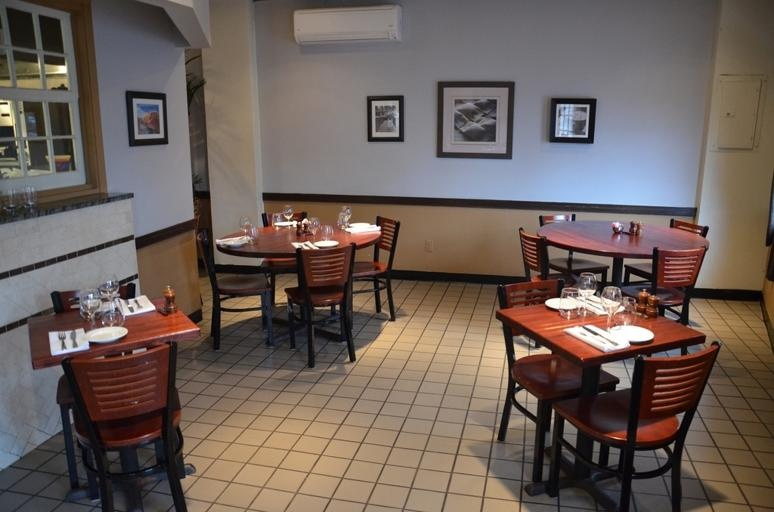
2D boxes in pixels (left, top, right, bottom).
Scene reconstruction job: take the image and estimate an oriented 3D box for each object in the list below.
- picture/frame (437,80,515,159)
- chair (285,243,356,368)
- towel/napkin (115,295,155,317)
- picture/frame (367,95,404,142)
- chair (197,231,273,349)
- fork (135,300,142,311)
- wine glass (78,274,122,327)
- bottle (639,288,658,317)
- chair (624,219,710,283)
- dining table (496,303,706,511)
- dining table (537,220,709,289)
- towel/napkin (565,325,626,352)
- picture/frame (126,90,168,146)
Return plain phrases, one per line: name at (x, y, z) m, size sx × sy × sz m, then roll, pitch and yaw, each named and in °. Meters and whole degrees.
picture/frame at (1.236, -1.881, 7.254) m, size 0.984 × 1.001 × 0.067 m, roll 5°, pitch 11°, yaw 6°
chair at (-0.701, 0.424, 5.621) m, size 0.702 × 1.206 × 0.824 m, roll -6°, pitch 15°, yaw -12°
towel/napkin at (-1.939, 0.385, 4.179) m, size 0.188 × 0.028 × 0.175 m, roll -11°, pitch 36°, yaw -33°
picture/frame at (-0.004, -1.934, 7.474) m, size 0.622 × 0.706 × 0.056 m, roll 1°, pitch 7°, yaw 5°
chair at (-1.763, 0.198, 6.356) m, size 0.707 × 1.238 × 1.764 m, roll -7°, pitch 15°, yaw -15°
fork at (-1.933, 0.383, 4.198) m, size 0.045 × 0.040 × 0.131 m, roll -25°, pitch 38°, yaw -10°
wine glass at (-2.134, 0.343, 4.012) m, size 0.244 × 0.402 × 0.278 m, roll 8°, pitch 16°, yaw 9°
bottle at (2.038, 0.373, 4.213) m, size 0.117 × 0.193 × 0.179 m, roll -5°, pitch 9°, yaw -29°
chair at (2.933, -0.060, 5.661) m, size 0.470 × 0.822 × 0.537 m, roll -7°, pitch 37°, yaw 2°
dining table at (1.590, 1.026, 4.547) m, size 1.398 × 1.404 × 1.310 m, roll -8°, pitch 25°, yaw -15°
dining table at (2.448, -0.189, 5.778) m, size 1.092 × 0.701 × 1.099 m, roll 0°, pitch 15°, yaw 3°
towel/napkin at (1.473, 0.567, 3.751) m, size 0.202 × 0.036 × 0.203 m, roll -5°, pitch 17°, yaw -19°
picture/frame at (-2.467, -1.418, 5.513) m, size 0.045 × 0.563 × 0.564 m, roll 10°, pitch 17°, yaw 27°
